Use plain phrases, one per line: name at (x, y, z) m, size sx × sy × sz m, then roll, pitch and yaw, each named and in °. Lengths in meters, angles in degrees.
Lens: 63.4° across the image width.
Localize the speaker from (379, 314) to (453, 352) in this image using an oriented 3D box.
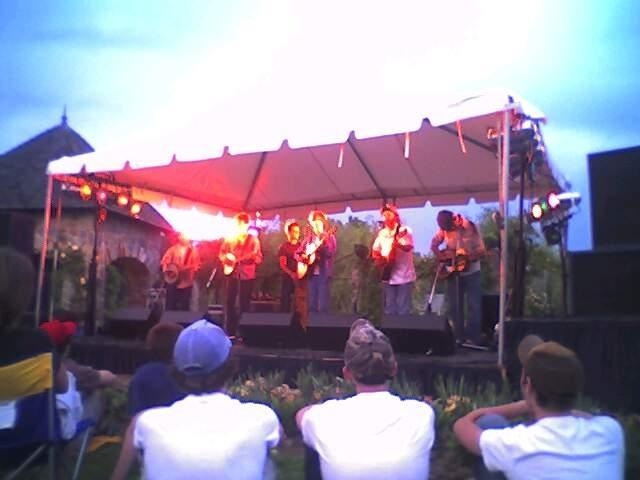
speaker at (1.102, 1.079, 5.821) m, size 0.607 × 0.501 × 0.225 m, roll -3°, pitch 26°, yaw 34°

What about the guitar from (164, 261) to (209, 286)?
guitar at (-2.485, 0.617, 9.195) m, size 0.646 × 0.466 × 0.323 m, roll 2°, pitch -7°, yaw -11°

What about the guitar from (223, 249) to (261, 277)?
guitar at (-1.410, 0.450, 8.947) m, size 0.850 × 0.465 × 0.313 m, roll -4°, pitch -8°, yaw 34°

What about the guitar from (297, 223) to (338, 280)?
guitar at (-0.044, 0.310, 7.989) m, size 0.141 × 0.461 × 0.844 m, roll -6°, pitch -29°, yaw -24°

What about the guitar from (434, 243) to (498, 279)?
guitar at (1.974, 0.274, 7.112) m, size 0.817 × 0.438 × 0.438 m, roll -2°, pitch -7°, yaw 17°

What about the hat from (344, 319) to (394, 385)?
hat at (0.286, 0.667, 3.072) m, size 0.203 × 0.370 × 0.173 m, roll -2°, pitch -46°, yaw 3°

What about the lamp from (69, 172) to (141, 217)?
lamp at (-3.637, -0.827, 8.832) m, size 0.414 × 0.445 × 1.268 m, roll -12°, pitch -9°, yaw 29°

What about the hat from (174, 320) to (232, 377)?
hat at (-0.713, 0.590, 3.127) m, size 0.329 × 0.213 × 0.506 m, roll -8°, pitch 17°, yaw 3°

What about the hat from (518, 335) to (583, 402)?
hat at (1.300, 0.692, 2.900) m, size 0.283 × 0.257 × 0.483 m, roll 0°, pitch 16°, yaw -3°

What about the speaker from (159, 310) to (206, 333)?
speaker at (-1.455, 0.856, 5.485) m, size 0.617 × 0.210 × 0.663 m, roll -1°, pitch -6°, yaw 20°

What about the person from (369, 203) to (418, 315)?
person at (1.024, 0.223, 7.060) m, size 0.515 × 1.545 × 0.882 m, roll 1°, pitch -7°, yaw -8°

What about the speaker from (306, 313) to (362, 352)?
speaker at (0.103, 1.119, 6.268) m, size 0.479 × 0.361 × 0.485 m, roll -4°, pitch -11°, yaw 31°

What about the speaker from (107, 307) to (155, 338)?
speaker at (-2.995, 1.318, 8.115) m, size 0.729 × 0.518 × 0.447 m, roll 3°, pitch -19°, yaw -23°

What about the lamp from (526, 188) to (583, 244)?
lamp at (2.863, -0.274, 6.365) m, size 0.371 × 0.638 × 0.655 m, roll 7°, pitch -9°, yaw -44°
